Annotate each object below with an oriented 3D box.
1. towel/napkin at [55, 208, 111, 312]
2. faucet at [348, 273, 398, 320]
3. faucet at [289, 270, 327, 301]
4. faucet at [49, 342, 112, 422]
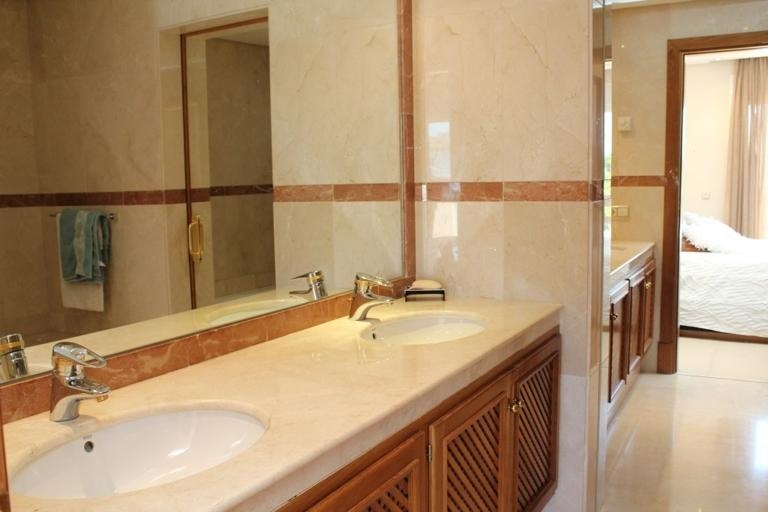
[{"bbox_3d":[-0.911,0.011,1.786,0.162,0.315,0.078,-7,16,-29],"label":"towel/napkin"},{"bbox_3d":[-0.042,0.169,2.468,0.237,0.235,0.129,4,9,21],"label":"faucet"},{"bbox_3d":[-0.315,0.121,2.443,0.172,0.107,0.077,3,-5,-41],"label":"faucet"},{"bbox_3d":[-0.828,0.343,1.560,0.126,0.218,0.205,-11,19,-39],"label":"faucet"}]
